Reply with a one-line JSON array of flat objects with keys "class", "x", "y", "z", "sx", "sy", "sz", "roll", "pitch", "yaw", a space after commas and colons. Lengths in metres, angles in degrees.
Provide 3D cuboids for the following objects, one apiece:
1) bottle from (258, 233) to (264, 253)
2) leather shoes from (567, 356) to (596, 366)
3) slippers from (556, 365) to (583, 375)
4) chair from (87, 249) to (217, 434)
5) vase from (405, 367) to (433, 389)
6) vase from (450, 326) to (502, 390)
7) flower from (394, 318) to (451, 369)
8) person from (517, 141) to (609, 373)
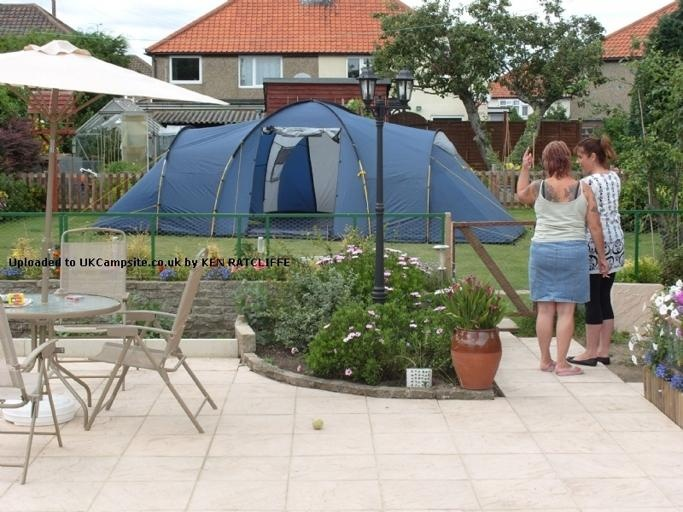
[{"class": "bottle", "x": -1.086, "y": -0.157, "z": 11.778, "sx": 0.099, "sy": 0.237, "sz": 0.178, "roll": 0, "pitch": 6, "yaw": -7}, {"class": "leather shoes", "x": 2.602, "y": 1.133, "z": 9.391, "sx": 0.297, "sy": 0.101, "sz": 0.113, "roll": 4, "pitch": 2, "yaw": 22}, {"class": "slippers", "x": 2.373, "y": 1.198, "z": 9.061, "sx": 0.211, "sy": 0.076, "sz": 0.116, "roll": -3, "pitch": 4, "yaw": -11}, {"class": "chair", "x": -1.793, "y": 0.699, "z": 8.418, "sx": 1.150, "sy": 1.574, "sz": 1.811, "roll": 0, "pitch": 7, "yaw": -9}, {"class": "vase", "x": 0.773, "y": 1.192, "z": 8.599, "sx": 0.252, "sy": 0.190, "sz": 0.211, "roll": 1, "pitch": 6, "yaw": 2}, {"class": "vase", "x": 1.269, "y": 0.982, "z": 8.687, "sx": 0.543, "sy": 0.630, "sz": 0.563, "roll": -1, "pitch": 3, "yaw": -5}, {"class": "flower", "x": 0.829, "y": 0.881, "z": 8.868, "sx": 0.489, "sy": 0.424, "sz": 0.490, "roll": -4, "pitch": 17, "yaw": -2}, {"class": "person", "x": 2.278, "y": 0.023, "z": 9.032, "sx": 0.901, "sy": 2.429, "sz": 0.583, "roll": 4, "pitch": 7, "yaw": 25}]
